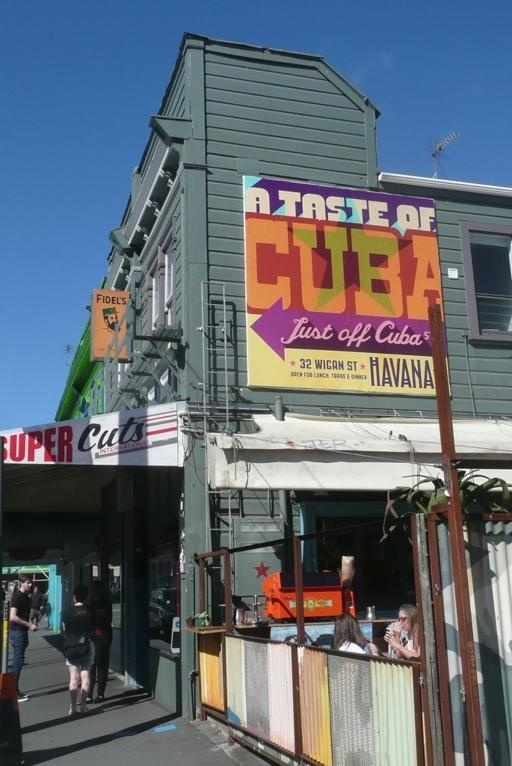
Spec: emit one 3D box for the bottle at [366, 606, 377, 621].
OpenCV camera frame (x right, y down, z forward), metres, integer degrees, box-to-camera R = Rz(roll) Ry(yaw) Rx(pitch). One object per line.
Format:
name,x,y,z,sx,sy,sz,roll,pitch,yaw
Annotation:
bottle,1.320,2.607,8.994,0.127,0.165,0.166,0,-15,-2

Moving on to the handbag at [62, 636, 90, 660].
handbag,-2.449,3.592,10.732,0.339,0.339,0.242,21,-25,-33

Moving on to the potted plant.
potted plant,1.307,0.816,5.569,1.064,0.519,1.091,-8,-12,17
